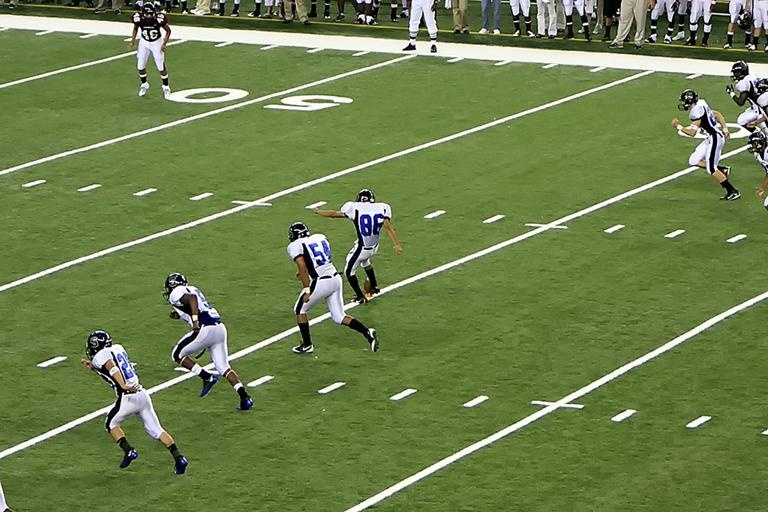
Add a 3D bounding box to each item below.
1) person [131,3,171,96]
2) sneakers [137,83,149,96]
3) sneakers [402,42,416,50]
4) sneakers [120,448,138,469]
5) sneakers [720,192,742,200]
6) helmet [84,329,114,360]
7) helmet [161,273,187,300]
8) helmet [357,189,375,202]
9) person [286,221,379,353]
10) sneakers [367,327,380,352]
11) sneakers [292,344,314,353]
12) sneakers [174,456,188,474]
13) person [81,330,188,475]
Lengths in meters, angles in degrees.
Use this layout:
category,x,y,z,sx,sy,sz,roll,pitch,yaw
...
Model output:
category,x,y,z,sx,sy,sz,roll,pitch,yaw
person,-5.014,-4.441,23.420,0.762,1.999,1.265,-4,18,-11
sneakers,-5.214,-3.667,23.689,0.162,0.165,0.361,21,41,-16
sneakers,0.625,-5.078,26.225,0.291,0.201,0.354,1,15,1
sneakers,-2.789,2.218,11.882,0.287,0.094,0.146,-34,11,3
sneakers,5.852,-1.005,18.278,0.389,0.096,0.128,-3,-25,3
helmet,-3.084,0.965,11.766,0.258,0.308,0.234,-3,18,-12
helmet,-2.487,0.369,12.917,0.224,0.337,0.325,-4,17,-14
helmet,-0.256,-0.841,15.189,0.217,0.154,0.193,2,16,7
person,-0.697,0.410,14.061,1.037,1.684,0.564,-1,19,-5
sneakers,-0.136,1.096,14.112,0.195,0.273,0.114,1,-2,-3
sneakers,-1.057,1.205,14.111,0.289,0.083,0.108,3,7,10
sneakers,-2.204,2.265,11.772,0.162,0.180,0.218,6,19,-11
person,-2.670,1.583,11.782,1.080,1.520,0.526,12,22,32
